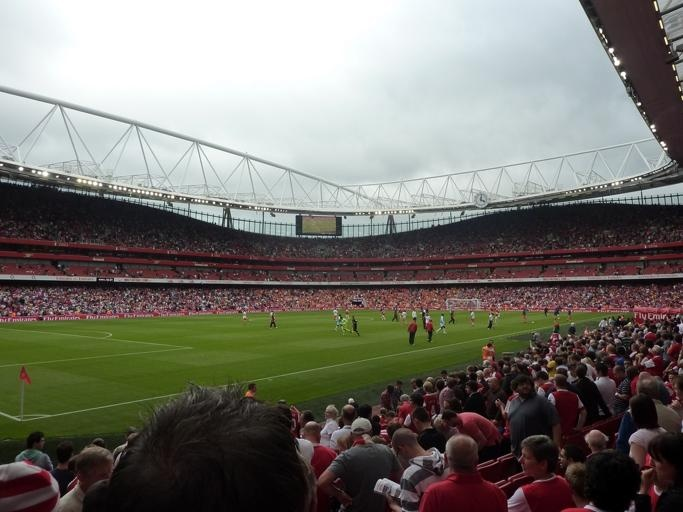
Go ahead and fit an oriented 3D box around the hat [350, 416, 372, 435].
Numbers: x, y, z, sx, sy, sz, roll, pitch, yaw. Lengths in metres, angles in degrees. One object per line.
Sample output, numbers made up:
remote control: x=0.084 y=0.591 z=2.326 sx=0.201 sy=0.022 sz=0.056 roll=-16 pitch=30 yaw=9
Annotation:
hat: x=0.297 y=2.541 z=7.703 sx=0.310 sy=0.216 sz=0.485 roll=-2 pitch=-14 yaw=6
